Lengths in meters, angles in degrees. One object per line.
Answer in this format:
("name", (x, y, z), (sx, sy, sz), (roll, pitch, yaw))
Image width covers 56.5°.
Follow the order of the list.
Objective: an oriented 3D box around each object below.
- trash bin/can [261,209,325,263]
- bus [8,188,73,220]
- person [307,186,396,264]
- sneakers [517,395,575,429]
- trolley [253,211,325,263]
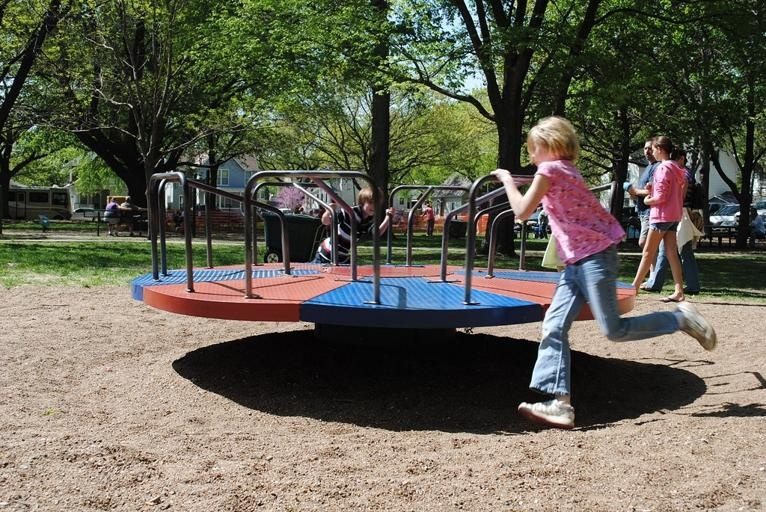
("trash bin/can", (-1.764, -0.319, 14.086), (1.461, 0.946, 0.966), (0, 7, -3))
("bus", (-21.710, -3.241, 44.765), (3.747, 1.759, 1.370), (-1, 8, -14))
("person", (-0.418, -0.375, 9.236), (0.855, 0.997, 2.150), (0, 2, -8))
("sneakers", (1.441, 1.351, 6.232), (0.545, 0.226, 0.210), (10, -11, 13))
("trolley", (-1.848, -0.276, 14.526), (1.534, 0.926, 0.959), (0, -3, -18))
